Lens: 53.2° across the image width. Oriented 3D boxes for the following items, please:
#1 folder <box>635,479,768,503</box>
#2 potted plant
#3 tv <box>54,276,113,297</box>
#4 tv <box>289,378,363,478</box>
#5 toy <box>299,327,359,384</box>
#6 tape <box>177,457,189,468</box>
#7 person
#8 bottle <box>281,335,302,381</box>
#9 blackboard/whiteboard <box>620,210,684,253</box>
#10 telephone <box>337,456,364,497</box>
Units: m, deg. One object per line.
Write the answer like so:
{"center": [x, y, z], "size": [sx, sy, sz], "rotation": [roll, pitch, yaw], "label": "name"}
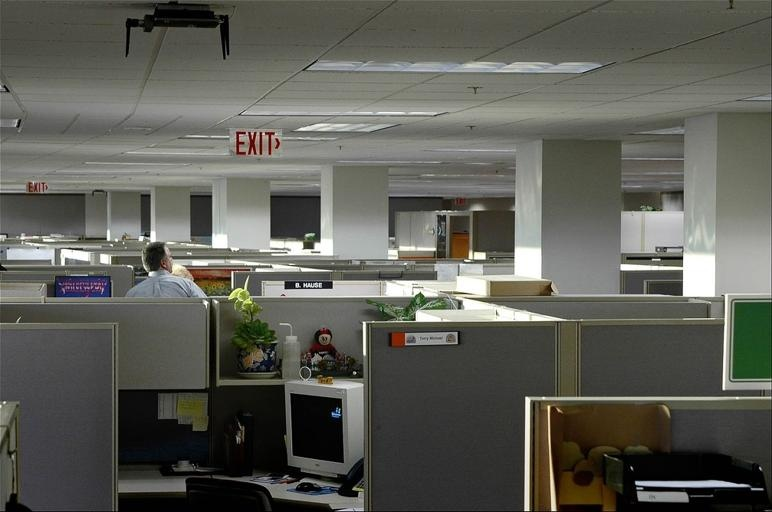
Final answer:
{"center": [1.165, 0.871, 2.845], "size": [0.520, 0.077, 0.074], "rotation": [1, 0, -12], "label": "folder"}
{"center": [-0.800, 0.456, 4.656], "size": [0.318, 0.536, 0.259], "rotation": [2, 0, -7], "label": "potted plant"}
{"center": [-3.039, 0.299, 7.698], "size": [0.544, 0.230, 0.312], "rotation": [1, 0, -15], "label": "tv"}
{"center": [-0.322, 0.959, 4.290], "size": [0.539, 0.536, 0.345], "rotation": [4, 9, 28], "label": "tv"}
{"center": [-0.345, 0.611, 4.710], "size": [0.345, 0.283, 0.176], "rotation": [1, 2, -4], "label": "toy"}
{"center": [-1.180, 1.211, 4.524], "size": [0.059, 0.035, 0.029], "rotation": [2, -5, -18], "label": "tape"}
{"center": [-1.670, 0.094, 5.827], "size": [0.512, 0.424, 1.644], "rotation": [2, 0, -18], "label": "person"}
{"center": [-0.560, 0.606, 4.595], "size": [0.104, 0.263, 0.093], "rotation": [2, 0, -16], "label": "bottle"}
{"center": [4.086, -0.374, 11.810], "size": [0.880, 0.584, 0.338], "rotation": [1, 0, 12], "label": "blackboard/whiteboard"}
{"center": [-0.175, 1.180, 4.137], "size": [0.065, 0.185, 0.138], "rotation": [25, -24, -2], "label": "telephone"}
